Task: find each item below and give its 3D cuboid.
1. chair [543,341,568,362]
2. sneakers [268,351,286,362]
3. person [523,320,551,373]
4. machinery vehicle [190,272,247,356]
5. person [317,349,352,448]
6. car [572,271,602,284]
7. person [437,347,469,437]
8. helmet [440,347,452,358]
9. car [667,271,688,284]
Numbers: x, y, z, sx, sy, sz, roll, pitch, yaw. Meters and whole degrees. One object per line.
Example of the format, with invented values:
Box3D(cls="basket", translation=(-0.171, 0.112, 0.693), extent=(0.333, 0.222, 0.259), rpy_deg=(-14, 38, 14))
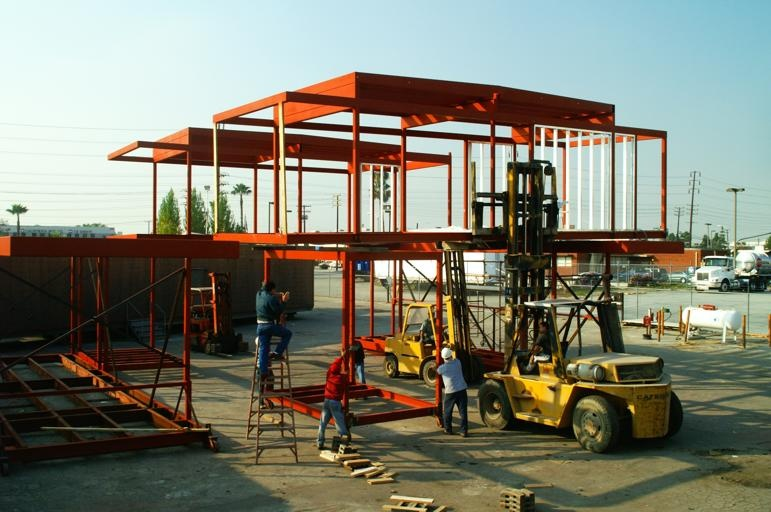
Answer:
Box3D(cls="chair", translation=(4.252, 2.254, 19.326), extent=(0.449, 0.452, 1.099), rpy_deg=(3, 9, 15))
Box3D(cls="sneakers", translation=(-2.575, 2.481, 19.451), extent=(0.559, 0.211, 0.181), rpy_deg=(-2, 0, 11))
Box3D(cls="person", translation=(3.735, 2.229, 19.249), extent=(0.436, 1.324, 0.830), rpy_deg=(-3, 10, -22))
Box3D(cls="machinery vehicle", translation=(-6.513, 2.158, 30.146), extent=(1.683, 2.679, 4.087), rpy_deg=(-5, 0, -42))
Box3D(cls="person", translation=(-1.202, 3.413, 18.532), extent=(0.736, 2.130, 0.884), rpy_deg=(0, 9, -5))
Box3D(cls="car", translation=(14.996, 1.587, 58.807), extent=(2.525, 0.700, 1.454), rpy_deg=(-1, 5, -23))
Box3D(cls="person", translation=(1.696, 3.283, 19.622), extent=(0.793, 2.189, 0.756), rpy_deg=(2, 9, 5))
Box3D(cls="helmet", translation=(1.522, 2.364, 19.374), extent=(0.268, 0.303, 0.379), rpy_deg=(1, 9, 2))
Box3D(cls="car", translation=(26.210, 1.927, 70.716), extent=(1.142, 0.796, 1.799), rpy_deg=(2, -4, -38))
